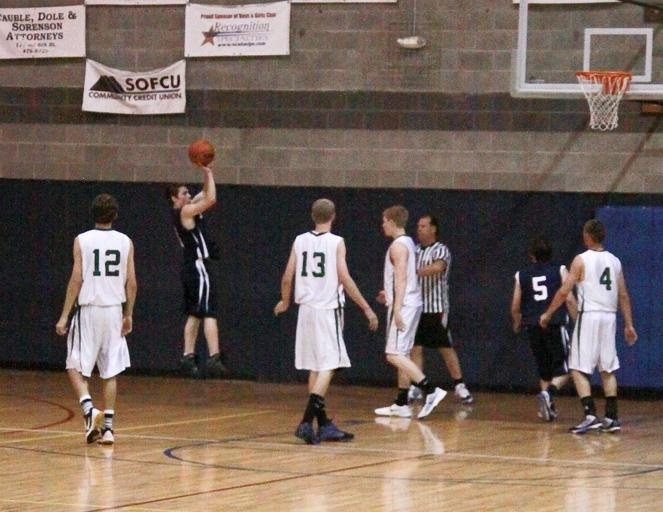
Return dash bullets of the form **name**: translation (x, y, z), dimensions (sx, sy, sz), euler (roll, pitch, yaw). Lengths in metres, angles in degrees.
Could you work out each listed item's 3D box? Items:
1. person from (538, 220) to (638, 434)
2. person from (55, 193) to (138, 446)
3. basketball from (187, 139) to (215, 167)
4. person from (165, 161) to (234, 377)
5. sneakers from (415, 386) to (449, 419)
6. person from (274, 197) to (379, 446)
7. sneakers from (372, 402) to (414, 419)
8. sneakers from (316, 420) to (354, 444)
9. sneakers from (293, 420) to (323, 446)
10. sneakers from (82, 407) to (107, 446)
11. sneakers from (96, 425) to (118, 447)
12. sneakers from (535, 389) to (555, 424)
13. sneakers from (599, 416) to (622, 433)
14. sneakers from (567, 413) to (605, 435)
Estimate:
- **person**: translation (2.666, 0.732, 12.398), dimensions (0.825, 2.163, 0.540), euler (-1, -2, 10)
- **person**: translation (-2.194, 0.610, 11.525), dimensions (0.710, 2.361, 0.333), euler (0, -3, -14)
- **basketball**: translation (-1.427, -1.120, 13.513), dimensions (0.265, 0.313, 0.228), euler (0, -3, -20)
- **person**: translation (-1.480, 0.206, 13.762), dimensions (0.556, 2.298, 0.846), euler (1, -3, -36)
- **sneakers**: translation (1.063, 1.653, 13.083), dimensions (0.216, 0.518, 0.191), euler (28, 35, -9)
- **person**: translation (-0.073, 0.637, 11.684), dimensions (0.808, 2.331, 0.371), euler (-1, -2, -2)
- **sneakers**: translation (0.678, 1.706, 13.385), dimensions (0.422, 0.172, 0.160), euler (2, -4, 11)
- **sneakers**: translation (0.042, 1.715, 11.743), dimensions (0.300, 0.159, 0.181), euler (-2, -4, 13)
- **sneakers**: translation (-0.226, 1.713, 11.627), dimensions (0.143, 0.199, 0.279), euler (-14, -26, 41)
- **sneakers**: translation (-2.199, 1.604, 11.429), dimensions (0.163, 0.380, 0.134), euler (31, 27, 34)
- **sneakers**: translation (-2.108, 1.721, 11.494), dimensions (0.191, 0.246, 0.508), euler (1, 0, -7)
- **sneakers**: translation (2.300, 1.617, 12.939), dimensions (0.142, 0.155, 0.347), euler (8, -41, 38)
- **sneakers**: translation (2.820, 1.728, 12.382), dimensions (0.102, 0.130, 0.269), euler (-1, 4, -1)
- **sneakers**: translation (2.583, 1.710, 12.353), dimensions (0.386, 0.209, 0.146), euler (-10, 1, 6)
